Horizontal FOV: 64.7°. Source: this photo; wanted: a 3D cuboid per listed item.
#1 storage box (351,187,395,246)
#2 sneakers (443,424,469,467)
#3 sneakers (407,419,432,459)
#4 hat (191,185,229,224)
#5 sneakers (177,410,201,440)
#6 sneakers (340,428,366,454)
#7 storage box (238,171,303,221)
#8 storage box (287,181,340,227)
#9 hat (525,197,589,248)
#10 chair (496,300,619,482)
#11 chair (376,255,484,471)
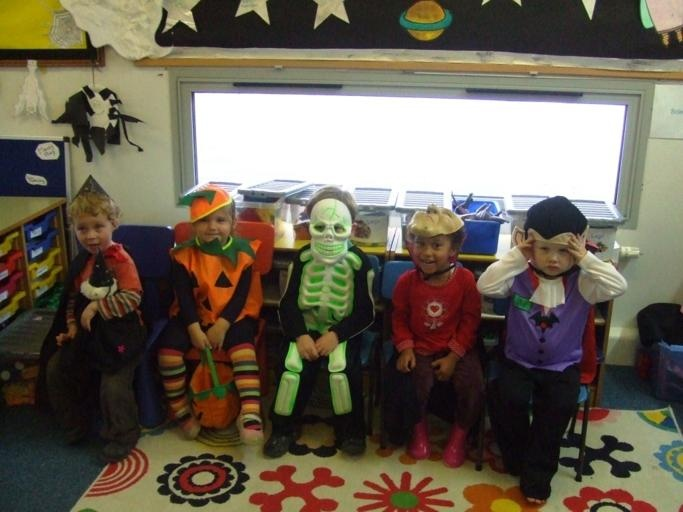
[{"bbox_3d":[0.178,-0.235,2.878,0.265,0.224,0.303,0,19,2],"label":"storage box"},{"bbox_3d":[0.502,0.855,2.399,0.089,0.182,0.250,-5,-19,22],"label":"sneakers"},{"bbox_3d":[0.351,0.823,2.453,0.071,0.141,0.207,1,17,6],"label":"sneakers"},{"bbox_3d":[-0.605,-0.243,2.549,0.165,0.087,0.170,8,25,34],"label":"hat"},{"bbox_3d":[-0.718,0.783,2.515,0.076,0.132,0.053,-32,-22,3],"label":"sneakers"},{"bbox_3d":[0.050,0.832,2.422,0.067,0.048,0.130,0,5,-2],"label":"sneakers"},{"bbox_3d":[-0.411,-0.269,3.119,0.310,0.182,0.497,2,2,4],"label":"storage box"},{"bbox_3d":[-0.154,-0.305,2.870,0.222,0.139,0.323,2,26,8],"label":"storage box"},{"bbox_3d":[0.961,-0.147,2.392,0.309,0.247,0.396,4,8,20],"label":"hat"},{"bbox_3d":[0.926,0.539,2.369,0.346,0.635,0.418,10,-4,31],"label":"chair"},{"bbox_3d":[0.447,0.460,2.481,0.499,0.773,0.481,11,19,35],"label":"chair"}]
